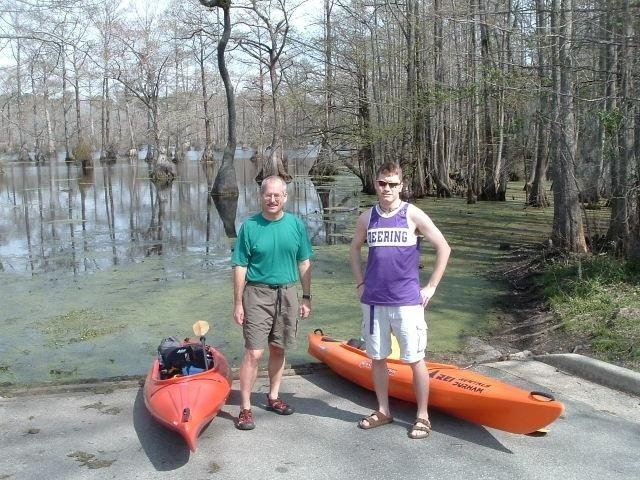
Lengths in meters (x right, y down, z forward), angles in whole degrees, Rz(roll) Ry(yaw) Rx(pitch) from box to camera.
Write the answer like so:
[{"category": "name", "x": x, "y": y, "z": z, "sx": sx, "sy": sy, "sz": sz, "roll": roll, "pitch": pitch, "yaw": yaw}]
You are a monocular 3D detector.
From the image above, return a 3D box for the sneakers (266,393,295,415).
[{"category": "sneakers", "x": -0.367, "y": 1.519, "z": 5.335, "sx": 0.266, "sy": 0.092, "sz": 0.119, "roll": 4, "pitch": 3, "yaw": 34}]

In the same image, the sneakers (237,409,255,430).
[{"category": "sneakers", "x": -0.633, "y": 1.560, "z": 4.989, "sx": 0.110, "sy": 0.081, "sz": 0.219, "roll": 1, "pitch": -9, "yaw": -13}]

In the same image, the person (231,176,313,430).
[{"category": "person", "x": -0.482, "y": 0.527, "z": 5.209, "sx": 0.426, "sy": 2.166, "sz": 0.866, "roll": 3, "pitch": 9, "yaw": 43}]

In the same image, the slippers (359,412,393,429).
[{"category": "slippers", "x": 0.494, "y": 1.577, "z": 5.063, "sx": 0.283, "sy": 0.077, "sz": 0.120, "roll": 2, "pitch": 2, "yaw": -18}]

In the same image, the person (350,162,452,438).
[{"category": "person", "x": 0.706, "y": 0.485, "z": 4.985, "sx": 0.847, "sy": 2.297, "sz": 0.427, "roll": -3, "pitch": 7, "yaw": 5}]
